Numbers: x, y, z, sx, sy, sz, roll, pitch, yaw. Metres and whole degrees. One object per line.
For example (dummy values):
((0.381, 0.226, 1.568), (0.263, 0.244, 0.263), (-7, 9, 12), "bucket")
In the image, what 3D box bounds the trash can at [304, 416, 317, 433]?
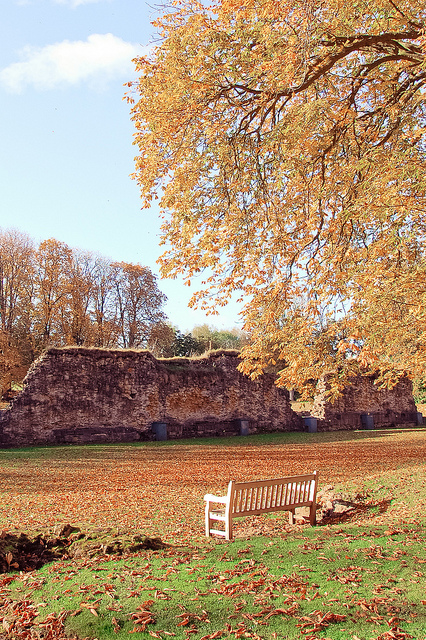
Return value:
((3.803, 4.064, 27.213), (0.552, 0.713, 0.513), (-1, 0, -4), "trash can")

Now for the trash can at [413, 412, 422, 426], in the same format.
((9.573, 4.606, 32.697), (0.349, 0.516, 0.715), (-2, -8, 20), "trash can")

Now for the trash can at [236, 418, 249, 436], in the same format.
((1.057, 3.764, 24.514), (0.538, 0.753, 0.475), (1, -11, -5), "trash can")

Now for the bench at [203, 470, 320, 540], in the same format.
((0.663, 2.366, 8.919), (1.552, 0.764, 0.492), (4, -9, -41), "bench")

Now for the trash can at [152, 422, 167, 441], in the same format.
((-1.656, 3.525, 22.092), (0.423, 0.534, 0.623), (3, -8, -17), "trash can")
